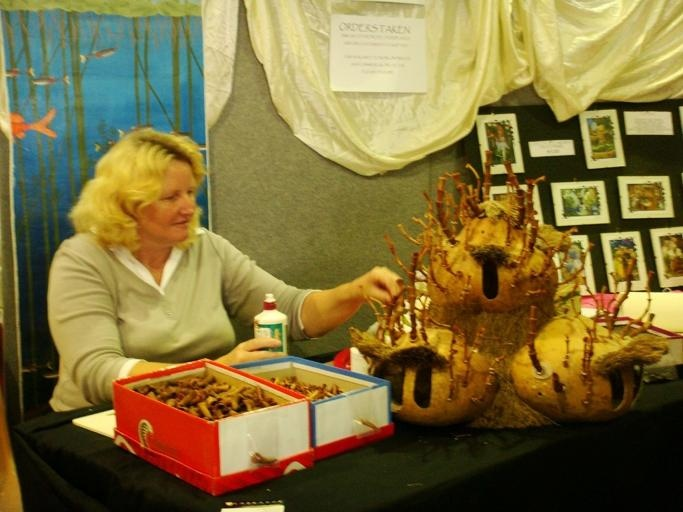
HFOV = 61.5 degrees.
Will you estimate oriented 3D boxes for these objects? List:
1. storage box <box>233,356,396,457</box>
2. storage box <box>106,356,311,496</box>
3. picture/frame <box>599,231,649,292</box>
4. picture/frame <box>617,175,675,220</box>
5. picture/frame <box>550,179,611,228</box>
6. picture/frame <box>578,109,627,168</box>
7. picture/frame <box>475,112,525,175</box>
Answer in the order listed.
[{"bbox_3d":[-0.053,0.333,1.330,0.212,0.082,0.291,-2,1,-39],"label":"storage box"},{"bbox_3d":[-0.293,0.336,1.219,0.377,0.115,0.228,6,9,39],"label":"storage box"},{"bbox_3d":[1.615,0.028,3.251,0.277,0.329,0.107,-4,5,-21],"label":"picture/frame"},{"bbox_3d":[1.730,-0.337,3.294,0.344,0.199,0.012,0,-10,-19],"label":"picture/frame"},{"bbox_3d":[1.336,-0.302,3.208,0.375,0.237,0.022,-5,0,-21],"label":"picture/frame"},{"bbox_3d":[1.470,-0.661,3.242,0.258,0.328,0.032,-4,5,-13],"label":"picture/frame"},{"bbox_3d":[0.863,-0.608,3.114,0.254,0.332,0.096,-5,6,-26],"label":"picture/frame"}]
